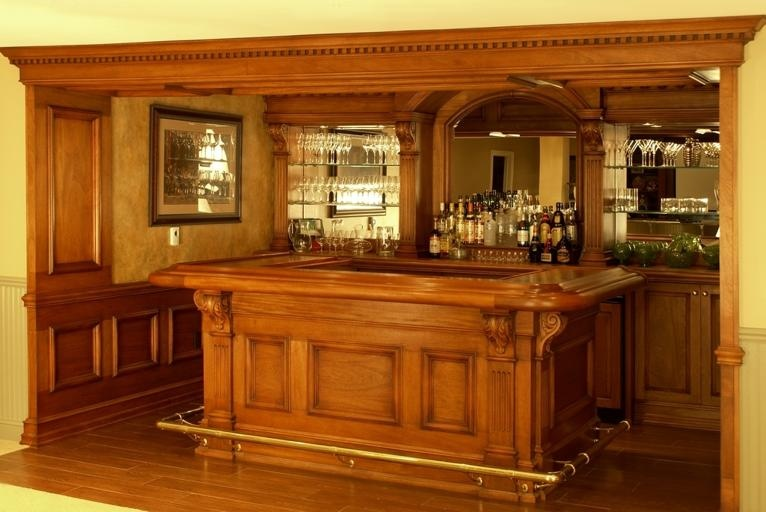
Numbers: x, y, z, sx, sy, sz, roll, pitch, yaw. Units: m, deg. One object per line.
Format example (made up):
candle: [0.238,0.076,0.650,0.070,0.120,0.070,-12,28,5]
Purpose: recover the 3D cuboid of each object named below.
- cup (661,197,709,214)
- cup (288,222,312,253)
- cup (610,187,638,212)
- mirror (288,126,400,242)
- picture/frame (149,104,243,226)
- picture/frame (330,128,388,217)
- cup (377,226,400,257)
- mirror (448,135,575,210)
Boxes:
cup: [2.945,-0.494,5.812,0.420,0.150,0.191,2,4,20]
cup: [-0.955,-0.239,6.885,0.197,0.357,0.298,-2,4,-25]
cup: [2.393,-0.548,5.889,0.294,0.227,0.262,1,-1,-8]
mirror: [-0.499,-0.841,6.983,1.508,1.131,0.449,-4,0,-32]
picture/frame: [-1.931,-0.924,6.223,0.105,1.192,1.074,3,5,35]
picture/frame: [-0.402,-0.972,6.709,0.339,0.858,1.071,6,11,38]
cup: [0.046,-0.158,6.422,0.212,0.305,0.353,-1,4,-11]
mirror: [1.817,-1.158,8.042,1.477,1.003,0.452,1,1,15]
